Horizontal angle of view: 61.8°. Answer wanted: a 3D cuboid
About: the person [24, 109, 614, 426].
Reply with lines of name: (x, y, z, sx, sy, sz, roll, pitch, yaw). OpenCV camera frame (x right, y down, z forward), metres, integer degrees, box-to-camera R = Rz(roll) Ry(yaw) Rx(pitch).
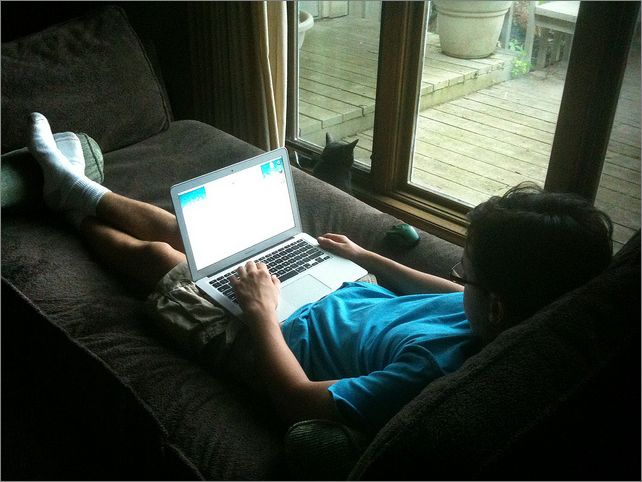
person: (-0.198, 0.059, 1.695, 1.949, 0.673, 0.813, 18, 18, 30)

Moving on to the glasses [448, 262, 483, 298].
glasses: (0.355, 0.100, 1.321, 0.080, 0.022, 0.078, 39, 26, 19)

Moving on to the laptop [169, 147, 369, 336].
laptop: (-0.220, -0.038, 1.718, 0.543, 0.404, 0.612, 31, 41, 33)

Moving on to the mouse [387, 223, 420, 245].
mouse: (0.299, -0.030, 1.899, 0.094, 0.034, 0.070, 24, 51, 35)
